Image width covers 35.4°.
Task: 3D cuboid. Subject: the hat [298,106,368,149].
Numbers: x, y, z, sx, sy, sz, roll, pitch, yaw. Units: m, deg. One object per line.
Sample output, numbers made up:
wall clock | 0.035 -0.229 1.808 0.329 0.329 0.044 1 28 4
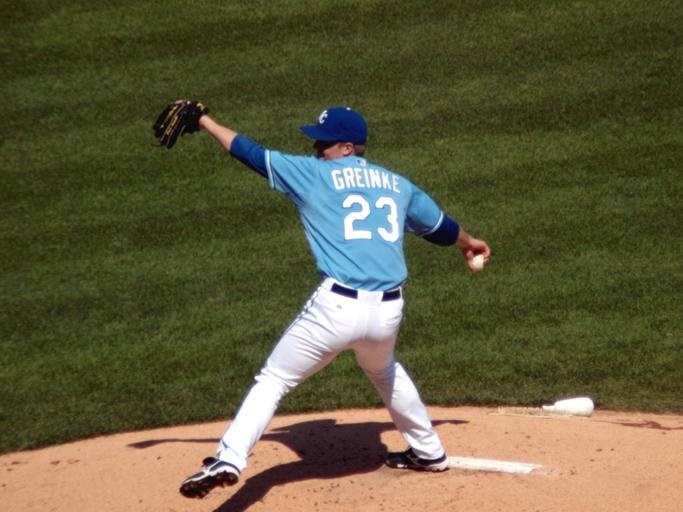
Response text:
hat | -0.065 -1.203 10.112 0.518 0.273 0.350 3 13 -4

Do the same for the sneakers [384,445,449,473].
sneakers | 0.687 1.921 10.378 0.579 0.262 0.234 5 1 15

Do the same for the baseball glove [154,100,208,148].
baseball glove | -1.518 -1.239 10.270 0.562 0.338 0.224 -27 -17 21
